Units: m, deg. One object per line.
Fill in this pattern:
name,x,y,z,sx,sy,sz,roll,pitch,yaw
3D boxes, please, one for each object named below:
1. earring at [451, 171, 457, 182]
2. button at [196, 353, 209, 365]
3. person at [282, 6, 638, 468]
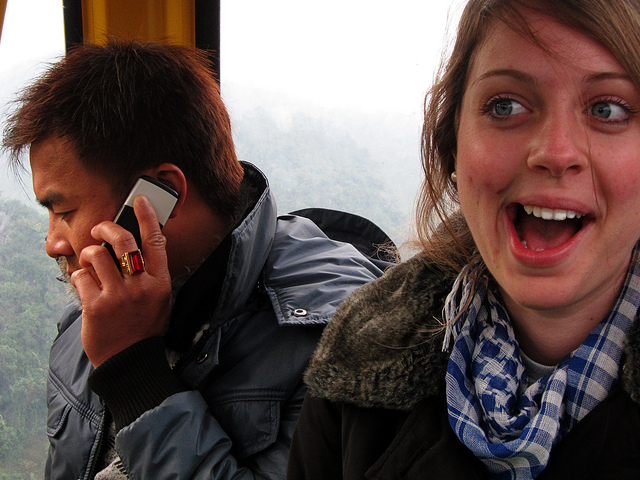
earring,0.391,-0.184,1.766,0.006,0.028,0.027,6,-1,-32
button,-0.403,0.396,2.075,0.042,0.040,0.012,5,8,12
person,0.412,0.041,1.569,0.812,1.239,0.425,11,11,40
